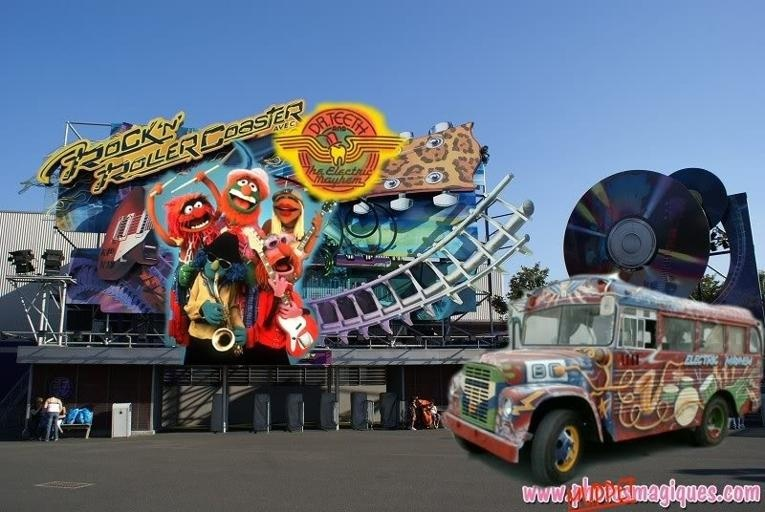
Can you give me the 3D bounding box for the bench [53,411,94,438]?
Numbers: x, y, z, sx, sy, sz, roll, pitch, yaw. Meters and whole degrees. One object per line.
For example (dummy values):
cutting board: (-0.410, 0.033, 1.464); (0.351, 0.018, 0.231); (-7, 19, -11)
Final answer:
bench: (-14.032, 7.662, 33.567); (1.695, 1.065, 1.146); (3, 32, -11)
